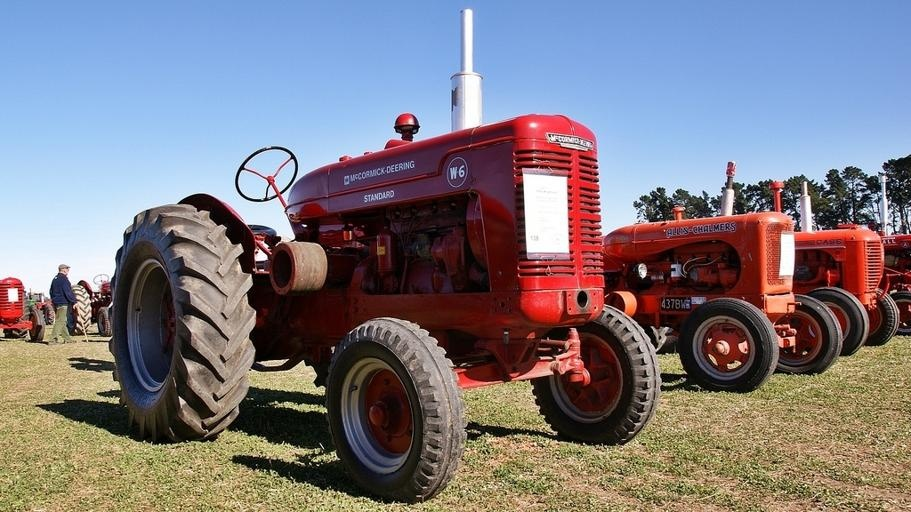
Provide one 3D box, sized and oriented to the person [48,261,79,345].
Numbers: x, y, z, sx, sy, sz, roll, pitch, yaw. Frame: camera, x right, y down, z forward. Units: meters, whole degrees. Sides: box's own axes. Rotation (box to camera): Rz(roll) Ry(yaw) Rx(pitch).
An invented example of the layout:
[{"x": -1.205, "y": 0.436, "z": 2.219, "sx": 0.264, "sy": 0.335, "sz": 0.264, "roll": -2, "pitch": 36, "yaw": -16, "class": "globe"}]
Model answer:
[{"x": -9.696, "y": 1.241, "z": 14.300, "sx": 0.592, "sy": 1.933, "sz": 1.087, "roll": -4, "pitch": 9, "yaw": -31, "class": "person"}]
